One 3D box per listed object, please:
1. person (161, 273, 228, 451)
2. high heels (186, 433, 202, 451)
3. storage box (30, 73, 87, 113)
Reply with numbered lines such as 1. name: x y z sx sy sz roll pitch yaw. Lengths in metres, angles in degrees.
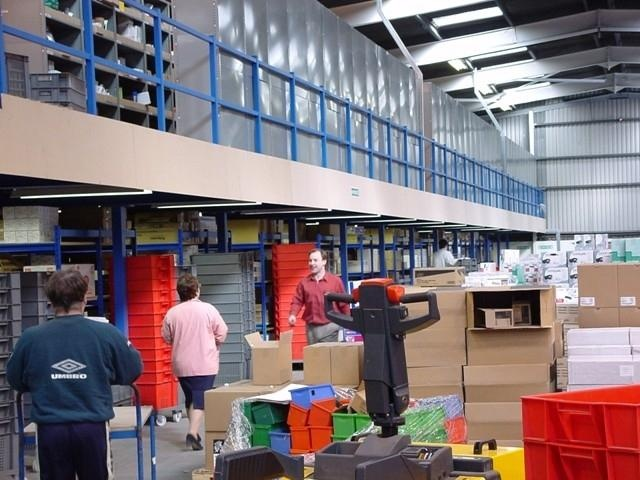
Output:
1. person: -1.575 1.498 11.711 0.785 2.063 0.313 0 -3 -6
2. high heels: -1.564 2.537 11.684 0.109 0.182 0.345 0 -2 11
3. storage box: -3.062 -1.706 10.873 0.449 0.332 0.481 0 0 14
